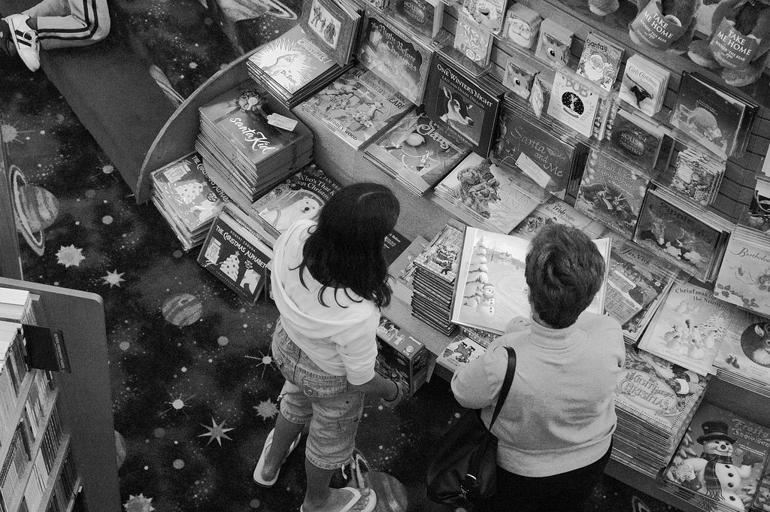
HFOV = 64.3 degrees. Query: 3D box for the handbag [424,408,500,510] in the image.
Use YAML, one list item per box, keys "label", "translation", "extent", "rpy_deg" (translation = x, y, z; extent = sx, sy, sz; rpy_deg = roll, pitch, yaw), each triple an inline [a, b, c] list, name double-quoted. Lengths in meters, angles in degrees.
- label: "handbag"
  translation: [0.420, 1.037, 3.129]
  extent: [0.185, 0.573, 0.336]
  rpy_deg: [3, 11, -37]
